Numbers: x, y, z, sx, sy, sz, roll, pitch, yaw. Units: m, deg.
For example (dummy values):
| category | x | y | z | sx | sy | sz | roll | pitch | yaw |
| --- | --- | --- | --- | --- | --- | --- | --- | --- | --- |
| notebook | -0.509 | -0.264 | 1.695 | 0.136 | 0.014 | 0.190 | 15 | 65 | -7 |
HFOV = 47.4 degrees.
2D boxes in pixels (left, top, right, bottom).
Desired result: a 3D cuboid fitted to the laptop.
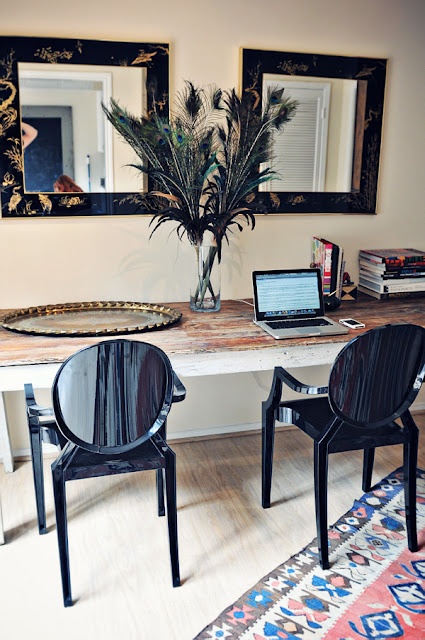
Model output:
| category | x | y | z | sx | sy | sz | roll | pitch | yaw |
| --- | --- | --- | --- | --- | --- | --- | --- | --- | --- |
| laptop | 0.332 | -0.083 | 2.027 | 0.282 | 0.208 | 0.263 | -3 | -7 | 13 |

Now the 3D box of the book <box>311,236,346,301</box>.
| category | x | y | z | sx | sy | sz | roll | pitch | yaw |
| --- | --- | --- | --- | --- | --- | --- | --- | --- | --- |
| book | 0.525 | -0.223 | 2.205 | 0.096 | 0.262 | 0.273 | -1 | 18 | -3 |

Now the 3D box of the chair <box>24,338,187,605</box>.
| category | x | y | z | sx | sy | sz | roll | pitch | yaw |
| --- | --- | --- | --- | --- | --- | --- | --- | --- | --- |
| chair | -0.333 | 0.386 | 1.509 | 0.481 | 0.857 | 0.446 | -1 | 19 | -5 |

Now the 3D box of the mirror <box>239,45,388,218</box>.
| category | x | y | z | sx | sy | sz | roll | pitch | yaw |
| --- | --- | --- | --- | --- | --- | --- | --- | --- | --- |
| mirror | 0.450 | -0.903 | 2.247 | 0.862 | 0.907 | 0.037 | -4 | 17 | -15 |
